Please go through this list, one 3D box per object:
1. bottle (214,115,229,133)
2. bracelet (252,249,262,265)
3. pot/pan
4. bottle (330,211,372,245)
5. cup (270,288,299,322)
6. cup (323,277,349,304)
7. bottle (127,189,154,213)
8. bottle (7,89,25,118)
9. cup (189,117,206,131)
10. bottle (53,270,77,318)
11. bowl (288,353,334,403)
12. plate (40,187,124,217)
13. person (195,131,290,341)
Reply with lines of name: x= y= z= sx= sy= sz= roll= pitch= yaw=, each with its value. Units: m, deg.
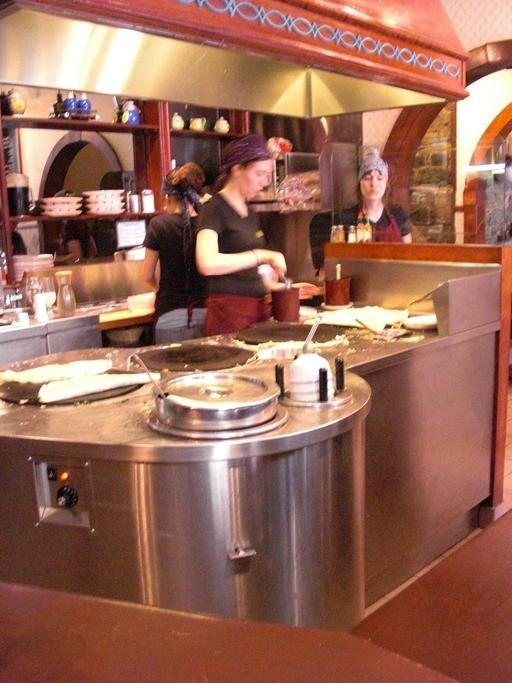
bottle: x=-0.318 y=-2.104 z=5.052 sx=0.157 sy=0.192 sz=0.163 roll=10 pitch=25 yaw=15
bracelet: x=0.008 y=-0.461 z=2.833 sx=0.018 sy=0.069 sz=0.051 roll=3 pitch=-7 yaw=-15
pot/pan: x=-0.097 y=0.133 z=1.226 sx=0.281 sy=0.164 sz=0.246 roll=-4 pitch=-13 yaw=32
bottle: x=0.544 y=-0.629 z=2.994 sx=0.200 sy=0.182 sz=0.197 roll=-5 pitch=9 yaw=-37
cup: x=0.138 y=-0.164 z=2.446 sx=0.127 sy=0.161 sz=0.135 roll=4 pitch=-11 yaw=1
cup: x=0.435 y=-0.273 z=2.807 sx=0.128 sy=0.140 sz=0.127 roll=0 pitch=4 yaw=0
bottle: x=-1.037 y=-1.272 z=4.718 sx=0.276 sy=0.273 sz=0.155 roll=-4 pitch=14 yaw=-16
bottle: x=-1.816 y=-1.800 z=3.992 sx=0.157 sy=0.195 sz=0.141 roll=-5 pitch=-26 yaw=-24
cup: x=-0.541 y=-2.018 z=4.909 sx=0.162 sy=0.117 sz=0.124 roll=-3 pitch=10 yaw=-26
bottle: x=-1.244 y=-0.313 z=3.427 sx=0.130 sy=0.315 sz=0.370 roll=7 pitch=-12 yaw=-18
bowl: x=0.131 y=0.083 z=1.357 sx=0.110 sy=0.110 sz=0.113 roll=-3 pitch=8 yaw=0
plate: x=-1.470 y=-1.135 z=4.399 sx=0.381 sy=0.134 sz=0.380 roll=-6 pitch=4 yaw=-35
person: x=-0.074 y=-0.612 z=2.893 sx=0.489 sy=1.139 sz=0.407 roll=3 pitch=-11 yaw=2
